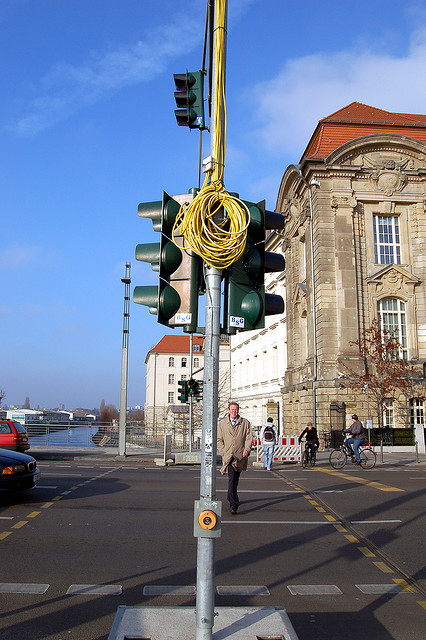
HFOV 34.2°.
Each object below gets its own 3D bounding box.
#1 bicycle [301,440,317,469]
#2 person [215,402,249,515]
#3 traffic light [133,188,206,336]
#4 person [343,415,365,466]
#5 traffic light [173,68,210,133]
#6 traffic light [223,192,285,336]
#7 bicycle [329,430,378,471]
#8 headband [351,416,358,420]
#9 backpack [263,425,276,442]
[{"bbox_3d":[2.954,4.256,21.648,0.476,0.579,0.981,-6,-18,24],"label":"bicycle"},{"bbox_3d":[0.340,2.125,10.579,0.498,1.663,0.740,2,-7,-17],"label":"person"},{"bbox_3d":[-0.296,-0.433,4.806,0.502,1.095,0.421,1,-7,-5],"label":"traffic light"},{"bbox_3d":[4.127,3.575,20.122,0.510,1.307,0.867,-1,-7,10],"label":"person"},{"bbox_3d":[-0.155,-1.866,5.904,0.299,0.537,0.189,-3,0,19],"label":"traffic light"},{"bbox_3d":[0.290,-0.401,5.039,0.432,1.057,0.805,-1,-7,7],"label":"traffic light"},{"bbox_3d":[4.191,3.907,20.489,1.540,1.039,0.791,-7,-19,35],"label":"bicycle"},{"bbox_3d":[4.004,2.776,19.463,0.098,0.077,0.125,7,-18,-23],"label":"headband"},{"bbox_3d":[1.661,3.286,19.913,0.261,0.342,0.368,2,-36,9],"label":"backpack"}]
